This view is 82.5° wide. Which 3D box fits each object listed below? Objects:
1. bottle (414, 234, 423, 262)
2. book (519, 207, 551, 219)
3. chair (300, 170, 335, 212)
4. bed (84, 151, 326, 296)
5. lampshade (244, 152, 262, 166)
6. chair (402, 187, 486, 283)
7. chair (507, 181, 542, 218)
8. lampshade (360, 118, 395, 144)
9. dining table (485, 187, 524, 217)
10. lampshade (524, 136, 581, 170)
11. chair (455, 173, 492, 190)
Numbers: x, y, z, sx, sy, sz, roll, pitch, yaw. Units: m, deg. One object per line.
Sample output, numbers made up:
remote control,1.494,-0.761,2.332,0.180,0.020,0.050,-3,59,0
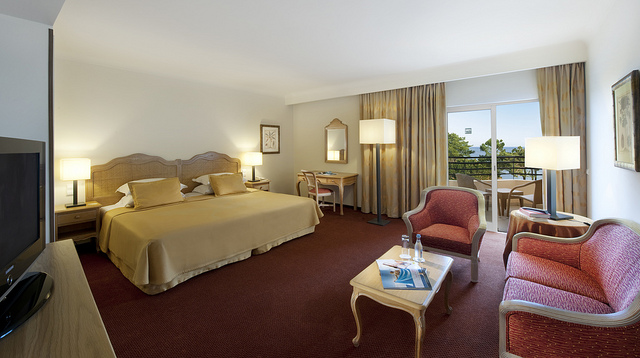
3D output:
bottle,1.285,0.871,4.749,0.104,0.314,0.286,-1,6,15
book,3.049,0.483,5.173,0.372,0.090,0.252,1,7,29
chair,-0.042,0.231,8.194,0.682,0.828,0.558,-3,9,-39
bed,-2.079,0.348,6.537,2.993,1.361,3.564,10,15,35
lampshade,-1.501,-0.445,8.066,0.330,0.333,0.313,2,-1,-9
chair,1.929,0.773,5.525,1.074,1.234,0.673,0,7,23
chair,3.758,0.382,6.718,0.531,0.719,0.504,2,1,26
lampshade,1.159,-0.885,7.287,0.601,0.404,0.591,3,-2,27
dining table,3.415,0.405,6.799,0.540,0.496,0.522,-5,6,-30
lampshade,3.211,-0.364,5.040,0.622,0.421,0.184,0,7,24
chair,2.876,0.050,6.855,0.404,0.524,0.353,-2,6,-9
